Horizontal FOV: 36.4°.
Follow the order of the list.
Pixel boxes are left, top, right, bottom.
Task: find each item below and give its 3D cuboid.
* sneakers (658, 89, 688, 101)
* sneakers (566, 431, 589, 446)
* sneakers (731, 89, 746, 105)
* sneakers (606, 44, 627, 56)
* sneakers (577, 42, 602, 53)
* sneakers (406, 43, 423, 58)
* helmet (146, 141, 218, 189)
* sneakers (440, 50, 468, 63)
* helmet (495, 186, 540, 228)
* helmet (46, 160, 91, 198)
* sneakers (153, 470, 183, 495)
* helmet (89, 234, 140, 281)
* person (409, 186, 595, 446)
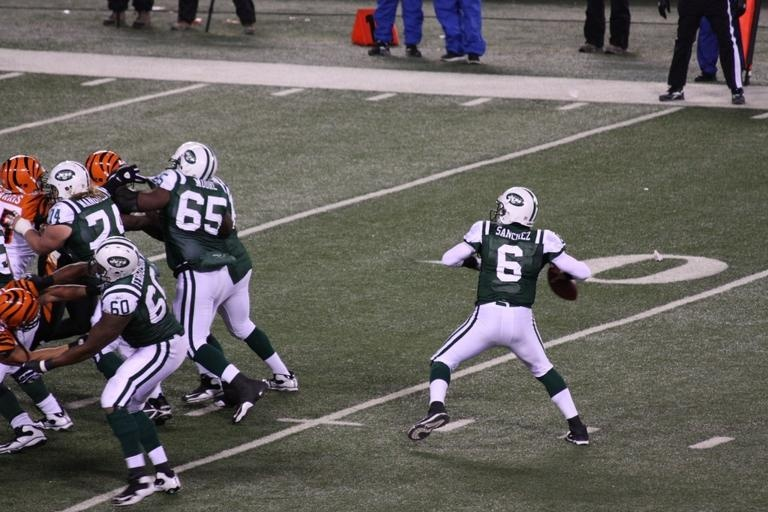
[{"bbox_3d":[3.845,-2.131,15.571,0.400,0.135,0.130,-1,14,-15],"label":"sneakers"},{"bbox_3d":[1.486,1.401,8.903,0.082,0.075,0.198,-13,17,-42],"label":"sneakers"},{"bbox_3d":[4.705,-2.093,15.439,0.131,0.109,0.287,0,21,13],"label":"sneakers"},{"bbox_3d":[3.676,-3.247,18.454,0.325,0.116,0.139,10,17,-22],"label":"sneakers"},{"bbox_3d":[3.264,-3.293,18.470,0.455,0.147,0.142,2,8,-9],"label":"sneakers"},{"bbox_3d":[0.528,-3.179,18.123,0.134,0.182,0.311,12,24,36],"label":"sneakers"},{"bbox_3d":[-1.649,-0.726,9.463,0.551,0.306,0.346,-5,10,-2],"label":"helmet"},{"bbox_3d":[1.058,-3.024,17.843,0.449,0.150,0.139,1,13,-9],"label":"sneakers"},{"bbox_3d":[1.055,-0.383,9.112,0.298,0.279,0.389,7,10,-45],"label":"helmet"},{"bbox_3d":[-2.481,-0.604,9.245,0.387,0.266,0.263,14,11,15],"label":"helmet"},{"bbox_3d":[-1.558,1.633,8.477,0.236,0.130,0.123,19,22,21],"label":"sneakers"},{"bbox_3d":[-1.948,0.037,8.522,0.391,0.252,0.257,3,22,-11],"label":"helmet"},{"bbox_3d":[0.958,0.482,8.892,1.241,1.895,0.831,-1,15,-2],"label":"person"}]
